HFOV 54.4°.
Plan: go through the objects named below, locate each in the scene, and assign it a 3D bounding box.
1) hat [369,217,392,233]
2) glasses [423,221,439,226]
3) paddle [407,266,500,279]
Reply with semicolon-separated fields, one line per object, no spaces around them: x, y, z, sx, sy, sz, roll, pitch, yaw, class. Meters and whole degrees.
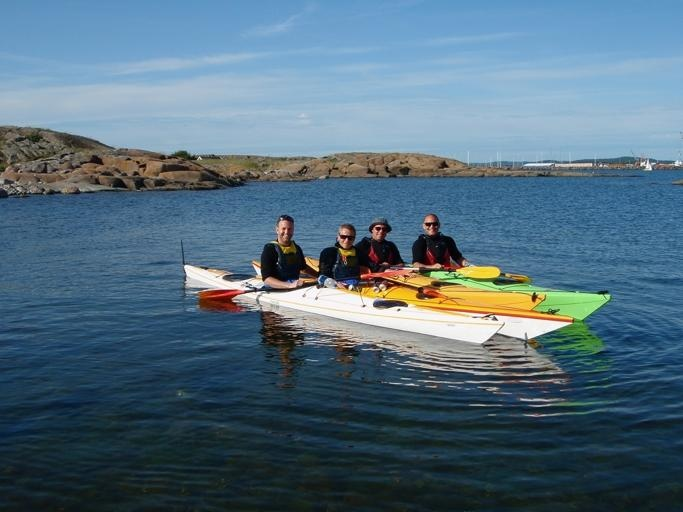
0.809;-0.690;14.435;0.440;0.282;0.439;1;8;2;hat
2.052;-0.737;15.097;0.322;0.097;0.176;0;8;-7;glasses
2.627;0.430;14.805;2.448;0.157;0.466;1;24;15;paddle
